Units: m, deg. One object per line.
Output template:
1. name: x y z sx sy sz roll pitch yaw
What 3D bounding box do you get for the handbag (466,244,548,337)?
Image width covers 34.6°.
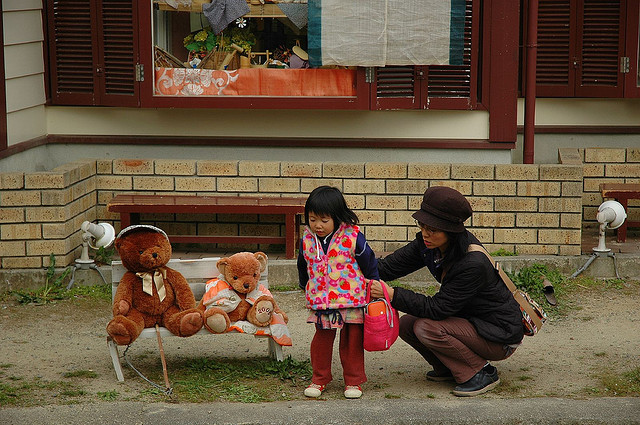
1. handbag: 1.711 0.799 10.089 0.366 1.007 0.625 -36 10 0

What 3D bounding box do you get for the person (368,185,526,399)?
1. person: 1.292 0.770 9.896 1.387 2.028 0.433 -3 5 4

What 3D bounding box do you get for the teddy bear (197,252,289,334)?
1. teddy bear: -0.785 0.773 10.302 0.990 0.698 0.559 0 16 -17

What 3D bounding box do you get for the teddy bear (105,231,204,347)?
1. teddy bear: -1.594 0.680 10.160 1.039 1.018 0.911 2 16 -4

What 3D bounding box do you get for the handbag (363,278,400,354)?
1. handbag: 0.609 0.960 10.037 0.321 0.666 0.718 -3 4 18
